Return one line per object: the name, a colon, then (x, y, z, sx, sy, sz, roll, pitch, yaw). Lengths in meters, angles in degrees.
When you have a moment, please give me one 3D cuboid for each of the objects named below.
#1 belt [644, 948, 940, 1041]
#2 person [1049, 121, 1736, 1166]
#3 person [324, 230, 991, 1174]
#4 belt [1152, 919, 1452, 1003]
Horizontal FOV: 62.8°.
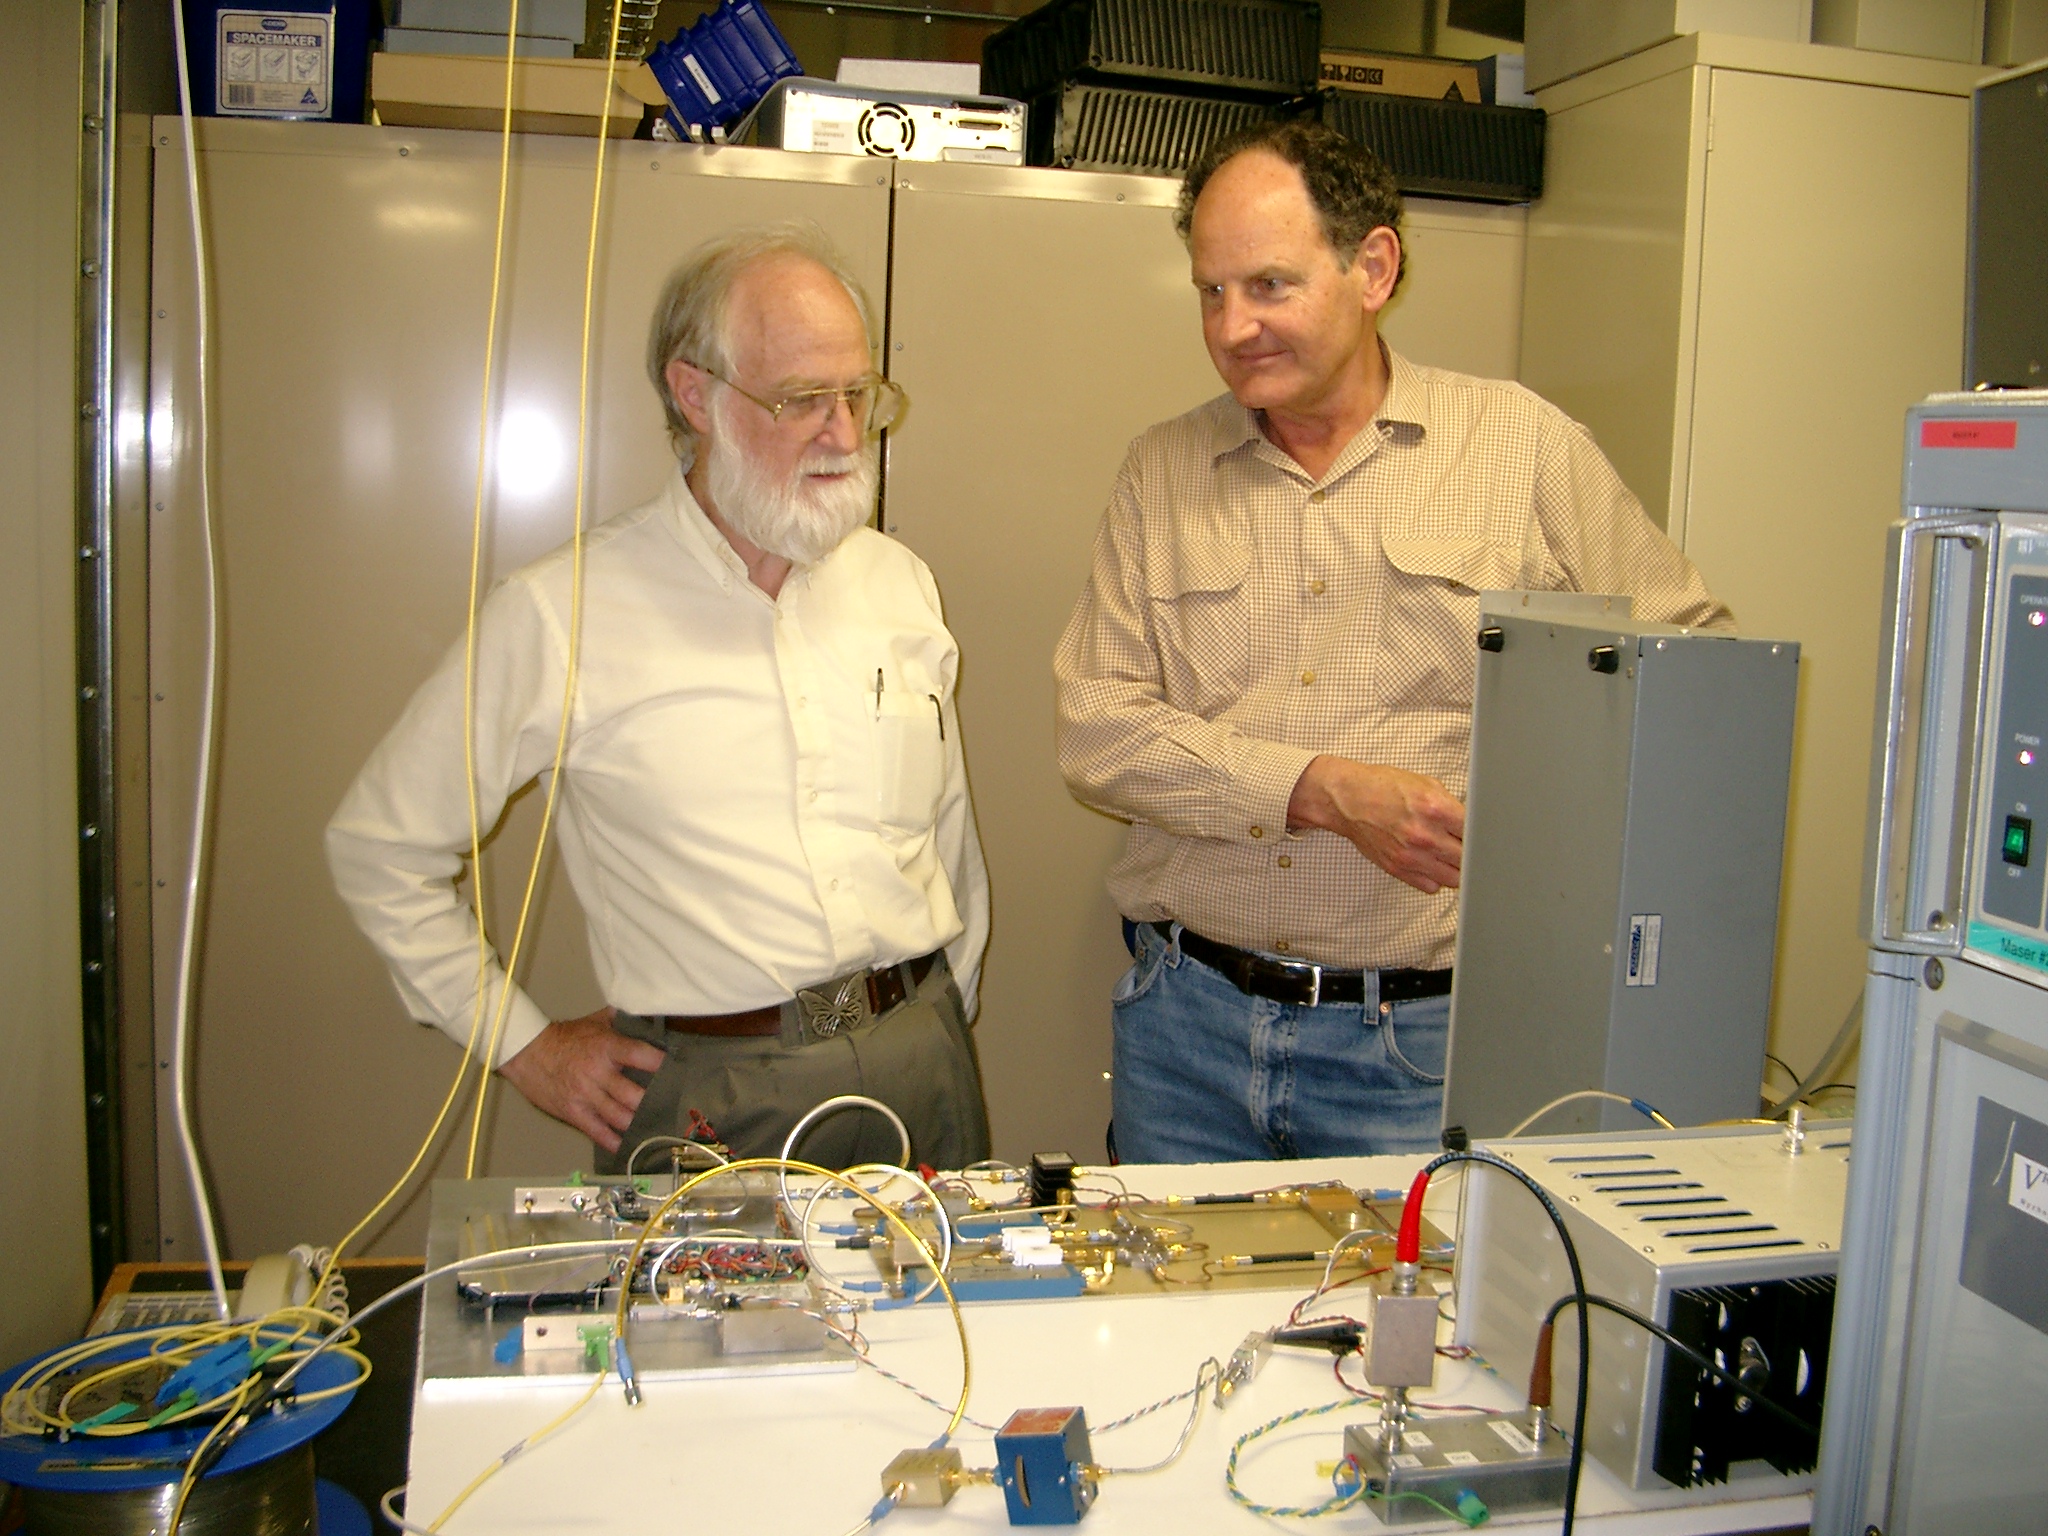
belt: (-0.320, 0.311, 2.234, 0.346, 0.079, 0.089, -3, 6, -11)
person: (0.444, -0.173, 2.513, 0.783, 1.546, 0.546, 2, 6, 34)
person: (-0.475, -0.075, 2.311, 0.831, 1.280, 0.417, -2, 5, -3)
belt: (0.381, 0.287, 2.439, 0.450, 0.099, 0.094, 1, 6, 21)
